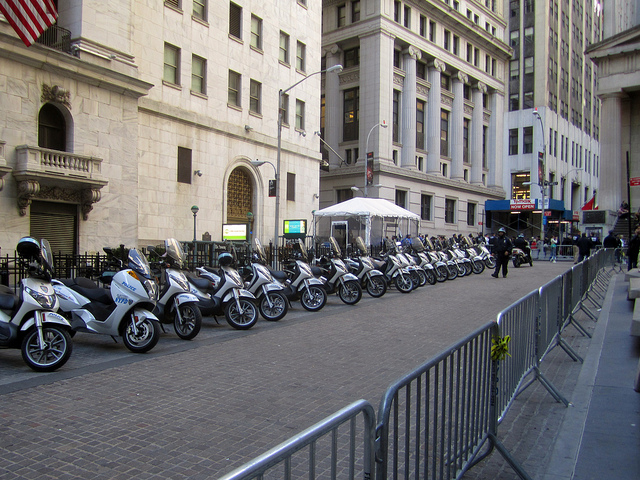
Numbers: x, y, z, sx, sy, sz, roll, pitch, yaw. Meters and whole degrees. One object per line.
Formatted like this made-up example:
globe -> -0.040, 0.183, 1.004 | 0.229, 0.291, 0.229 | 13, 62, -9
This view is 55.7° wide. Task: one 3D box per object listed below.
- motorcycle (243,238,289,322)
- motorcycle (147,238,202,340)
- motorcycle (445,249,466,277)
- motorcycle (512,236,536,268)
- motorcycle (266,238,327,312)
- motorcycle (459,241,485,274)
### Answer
motorcycle -> -1.636, 0.919, 16.175 | 0.817, 2.010, 2.378 | -2, 10, -33
motorcycle -> -3.481, 1.085, 13.725 | 2.382, 2.129, 0.859 | -2, 0, 45
motorcycle -> 6.081, 1.060, 26.852 | 1.216, 0.922, 0.683 | -1, 7, 10
motorcycle -> 10.984, 0.711, 32.786 | 2.178, 1.568, 0.956 | 3, -1, -44
motorcycle -> -0.557, 1.028, 17.111 | 1.270, 1.912, 1.228 | -2, 9, -44
motorcycle -> 7.320, 0.994, 28.983 | 1.609, 1.178, 0.939 | -1, 9, 0
